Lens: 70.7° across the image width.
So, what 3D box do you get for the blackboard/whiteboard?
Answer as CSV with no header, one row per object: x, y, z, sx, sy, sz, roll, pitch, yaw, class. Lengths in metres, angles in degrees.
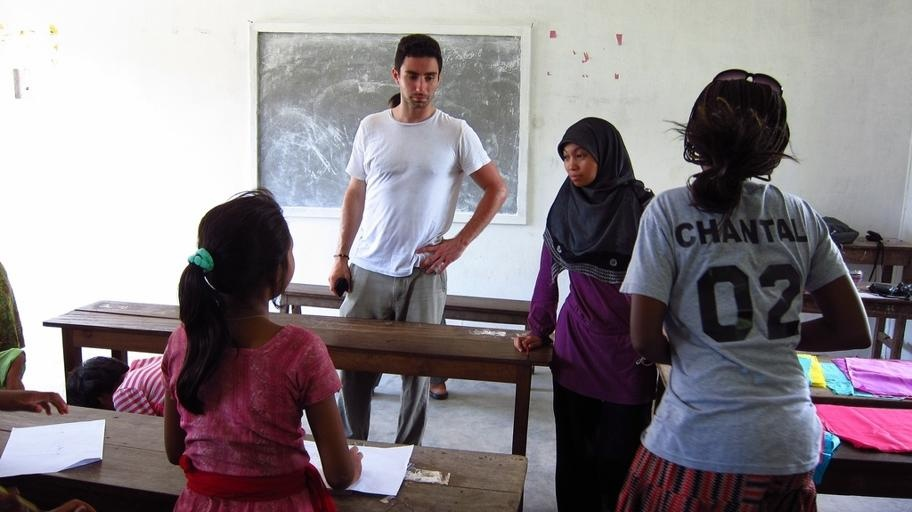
-0.442,-1.119,4.982,2.350,1.342,0.085,1,6,5,blackboard/whiteboard
